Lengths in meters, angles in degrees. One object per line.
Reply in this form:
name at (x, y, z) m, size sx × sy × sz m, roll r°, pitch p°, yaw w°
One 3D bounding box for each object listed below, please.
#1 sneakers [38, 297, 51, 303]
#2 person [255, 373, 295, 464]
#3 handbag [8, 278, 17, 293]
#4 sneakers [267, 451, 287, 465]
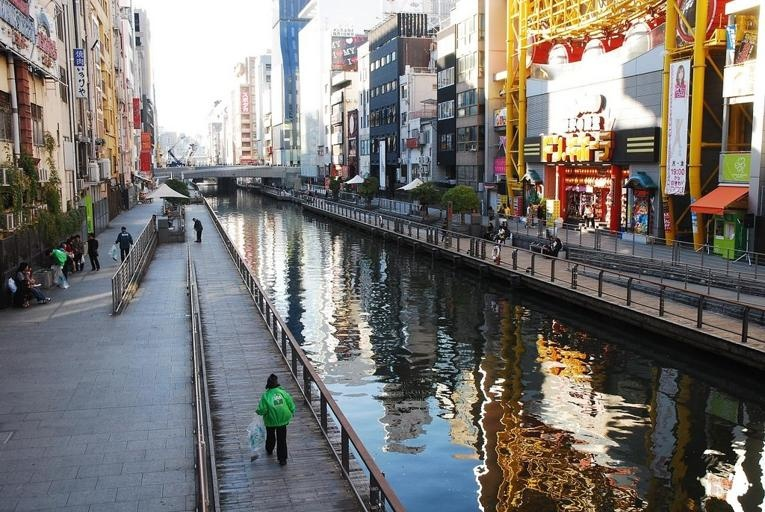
sneakers at (-15.099, 1.977, 28.336) m, size 0.160 × 0.195 × 0.465 m, roll 10°, pitch 17°, yaw 33°
person at (-2.495, 3.778, 14.820) m, size 0.834 × 2.087 × 0.766 m, roll -9°, pitch 13°, yaw -12°
handbag at (-15.915, 1.264, 27.157) m, size 0.226 × 0.531 × 0.403 m, roll 1°, pitch 7°, yaw -14°
sneakers at (-2.499, 4.720, 14.910) m, size 0.187 × 0.241 × 0.620 m, roll -9°, pitch 23°, yaw -35°
